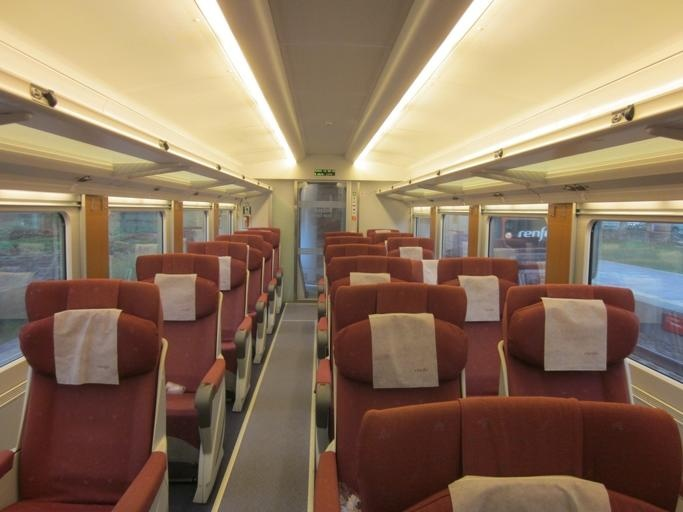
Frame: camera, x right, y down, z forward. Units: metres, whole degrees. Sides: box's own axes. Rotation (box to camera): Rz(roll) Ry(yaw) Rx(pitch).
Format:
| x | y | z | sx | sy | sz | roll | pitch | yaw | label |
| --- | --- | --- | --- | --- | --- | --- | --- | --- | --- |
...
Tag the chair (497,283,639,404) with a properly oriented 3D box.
| x | y | z | sx | sy | sz | roll | pitch | yaw | label |
| --- | --- | --- | --- | --- | --- | --- | --- | --- | --- |
| 1.506 | 0.566 | 3.651 | 0.935 | 0.872 | 0.803 | 1 | 1 | 4 | chair |
